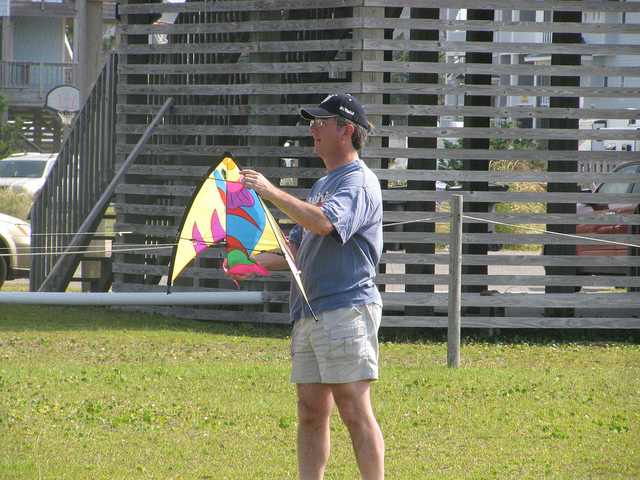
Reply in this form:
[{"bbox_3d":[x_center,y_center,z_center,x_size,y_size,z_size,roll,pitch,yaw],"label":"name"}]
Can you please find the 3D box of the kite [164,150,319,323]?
[{"bbox_3d":[-1.401,-0.603,28.619,2.447,2.647,2.840,1,10,17],"label":"kite"}]
